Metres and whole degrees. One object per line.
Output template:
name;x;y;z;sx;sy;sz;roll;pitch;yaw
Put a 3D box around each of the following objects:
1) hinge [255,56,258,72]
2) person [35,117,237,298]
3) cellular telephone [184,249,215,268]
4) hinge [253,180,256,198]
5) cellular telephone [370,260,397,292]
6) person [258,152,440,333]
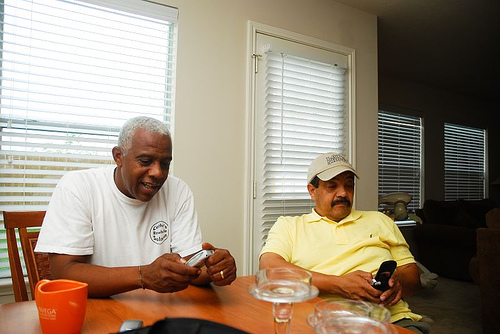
hinge;0.065;-0.995;3.166;0.033;0.152;0.009;1;3;-34
person;-0.583;0.166;1.780;0.967;0.879;0.621;3;2;4
cellular telephone;-0.230;0.418;1.511;0.086;0.020;0.088;-38;-23;17
hinge;0.045;0.208;3.124;0.028;0.167;0.016;1;3;-38
cellular telephone;0.671;0.548;1.641;0.104;0.186;0.129;3;2;9
person;0.612;0.414;2.007;0.934;0.997;0.748;4;3;29
